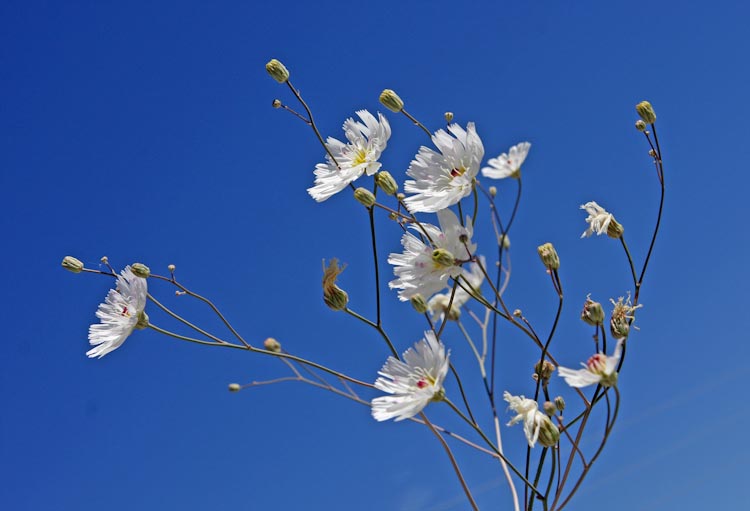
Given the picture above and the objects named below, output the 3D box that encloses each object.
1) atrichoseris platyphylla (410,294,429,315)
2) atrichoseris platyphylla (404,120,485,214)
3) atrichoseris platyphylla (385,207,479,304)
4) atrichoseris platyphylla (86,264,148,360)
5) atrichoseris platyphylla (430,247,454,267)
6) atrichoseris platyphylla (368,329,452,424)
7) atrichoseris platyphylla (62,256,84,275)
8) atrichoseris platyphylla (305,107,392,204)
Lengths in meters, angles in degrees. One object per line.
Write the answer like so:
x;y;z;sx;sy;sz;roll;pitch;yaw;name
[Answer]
0.126;0.134;2.626;0.025;0.034;0.057;-37;-80;16;atrichoseris platyphylla
0.228;-0.247;2.630;0.243;0.137;0.239;-10;-20;-31;atrichoseris platyphylla
0.173;0.018;2.577;0.113;0.269;0.276;39;-34;-17;atrichoseris platyphylla
-0.663;0.146;2.462;0.068;0.196;0.203;22;-59;-20;atrichoseris platyphylla
0.181;0.010;2.519;0.022;0.037;0.061;-2;-14;26;atrichoseris platyphylla
0.112;0.338;2.496;0.248;0.258;0.125;-41;-73;-11;atrichoseris platyphylla
-0.737;0.024;2.291;0.047;0.030;0.020;23;-18;-19;atrichoseris platyphylla
-0.034;-0.277;2.676;0.211;0.083;0.231;18;-47;-43;atrichoseris platyphylla
